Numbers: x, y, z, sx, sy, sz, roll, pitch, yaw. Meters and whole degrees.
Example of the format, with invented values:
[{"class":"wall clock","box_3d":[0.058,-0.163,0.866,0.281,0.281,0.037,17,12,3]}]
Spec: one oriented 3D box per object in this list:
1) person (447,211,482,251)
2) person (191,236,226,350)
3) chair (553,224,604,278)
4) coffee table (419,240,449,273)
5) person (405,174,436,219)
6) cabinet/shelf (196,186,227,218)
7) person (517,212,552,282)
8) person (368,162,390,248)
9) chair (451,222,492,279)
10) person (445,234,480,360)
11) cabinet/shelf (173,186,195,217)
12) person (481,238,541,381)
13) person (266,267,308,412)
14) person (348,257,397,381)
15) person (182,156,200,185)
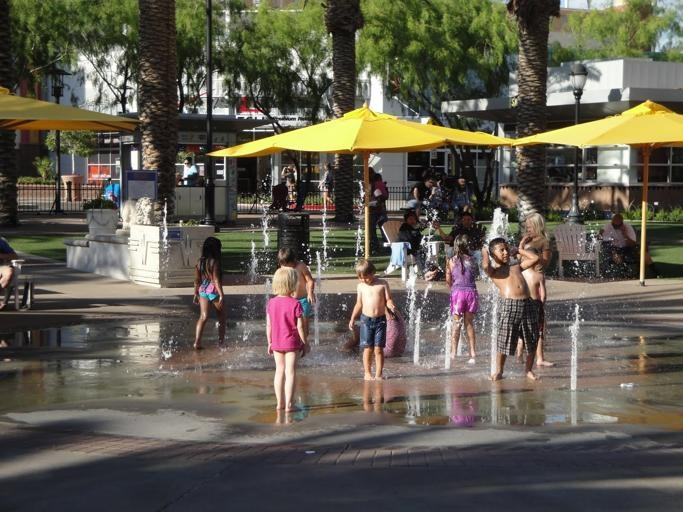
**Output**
[{"class":"person","box_3d":[2.383,-0.398,18.460,0.697,0.980,0.534,-4,12,0]},{"class":"person","box_3d":[-1.829,0.490,13.639,0.444,1.525,1.039,0,2,-7]},{"class":"chair","box_3d":[5.042,-0.126,20.172,0.961,1.474,1.120,-1,1,-5]},{"class":"coffee table","box_3d":[1.782,-0.039,19.211,0.610,0.895,0.662,-1,-5,6]},{"class":"person","box_3d":[1.872,-1.374,23.273,0.580,1.363,0.512,4,29,0]},{"class":"cabinet/shelf","box_3d":[-4.192,-1.755,31.413,0.993,1.105,0.497,2,-2,-21]},{"class":"person","box_3d":[2.691,0.048,13.541,0.376,1.281,0.461,-14,24,-25]},{"class":"person","box_3d":[0.976,-1.163,24.628,0.472,1.931,0.510,-5,6,-17]},{"class":"chair","box_3d":[2.570,-0.124,18.779,0.426,0.834,0.569,2,1,-21]},{"class":"person","box_3d":[1.670,0.549,13.355,0.410,1.691,1.014,0,2,7]},{"class":"cabinet/shelf","box_3d":[-5.015,-1.745,31.269,0.717,0.945,0.334,-1,2,-34]},{"class":"person","box_3d":[2.084,0.646,12.018,0.664,1.738,0.437,0,2,9]},{"class":"person","box_3d":[-0.592,0.904,10.754,0.413,1.563,0.427,0,2,-3]},{"class":"person","box_3d":[0.395,0.769,12.274,0.550,1.468,0.745,0,2,1]},{"class":"person","box_3d":[-4.959,-2.862,32.368,0.540,1.053,1.947,0,3,-9]}]
